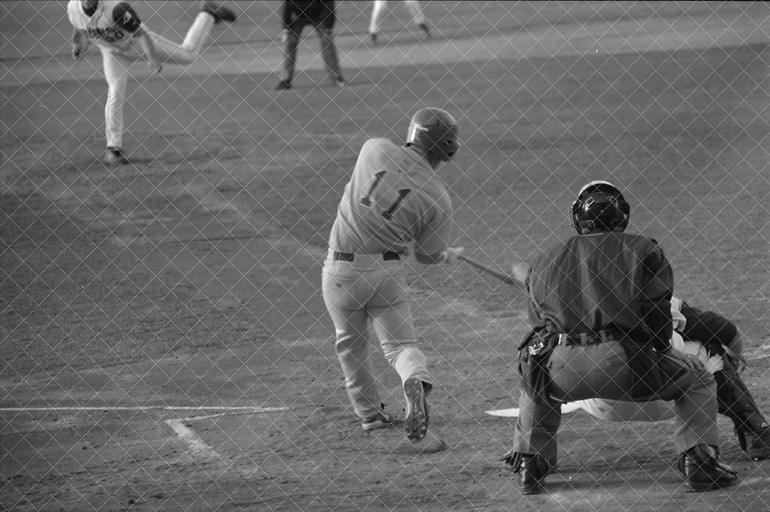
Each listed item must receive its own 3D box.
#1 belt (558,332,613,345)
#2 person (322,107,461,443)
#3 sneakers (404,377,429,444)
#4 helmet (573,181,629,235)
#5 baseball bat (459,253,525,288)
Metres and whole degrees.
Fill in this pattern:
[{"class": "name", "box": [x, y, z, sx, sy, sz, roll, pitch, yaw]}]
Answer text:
[{"class": "belt", "box": [1.690, 0.695, 14.615, 0.451, 0.120, 0.048, -1, 5, 9]}, {"class": "person", "box": [0.046, 0.169, 15.308, 1.213, 2.912, 0.709, -2, 5, -3]}, {"class": "sneakers", "box": [0.303, 1.356, 15.149, 0.196, 0.552, 0.252, 0, -15, 7]}, {"class": "helmet", "box": [1.821, -0.441, 14.846, 0.416, 0.471, 0.471, -4, 4, 3]}, {"class": "baseball bat", "box": [1.026, 0.160, 16.937, 0.671, 0.105, 0.108, 25, 13, 2]}]
